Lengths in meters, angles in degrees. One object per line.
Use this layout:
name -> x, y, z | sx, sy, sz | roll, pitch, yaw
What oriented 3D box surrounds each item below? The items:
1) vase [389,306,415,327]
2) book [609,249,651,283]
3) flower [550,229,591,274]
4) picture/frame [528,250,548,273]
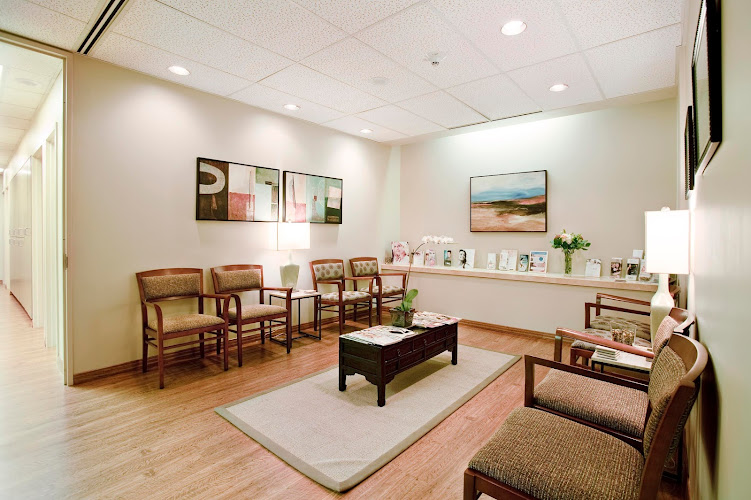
vase -> 0.330, 0.764, 5.478 | 0.207, 0.220, 0.286 | 2, 0, 44
book -> 3.385, 0.215, 6.177 | 0.158, 0.382, 0.404 | 7, -8, -17
flower -> 2.895, 0.013, 6.911 | 0.599, 0.616, 0.592 | 3, 2, 34
picture/frame -> 2.504, 0.180, 7.150 | 0.347, 0.469, 0.036 | 0, -7, 39
